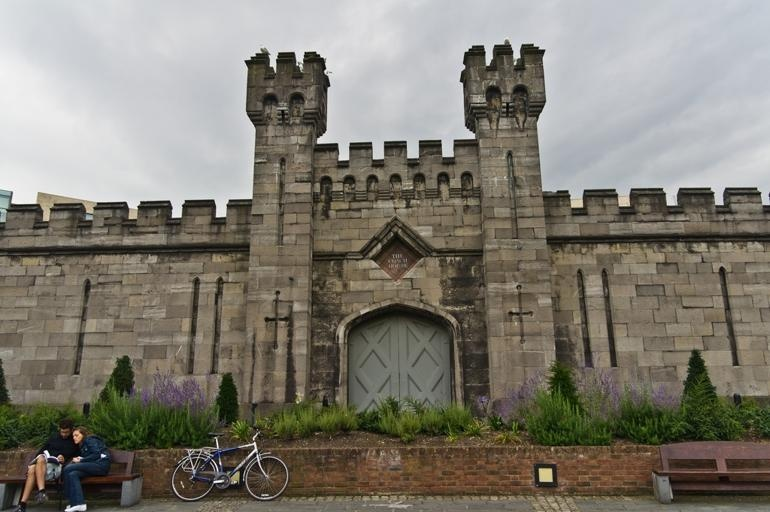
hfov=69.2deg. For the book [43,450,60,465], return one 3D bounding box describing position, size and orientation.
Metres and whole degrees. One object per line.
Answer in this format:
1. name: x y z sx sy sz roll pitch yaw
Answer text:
1. book: -7.552 4.554 12.645 0.342 0.133 0.243 5 -18 34
